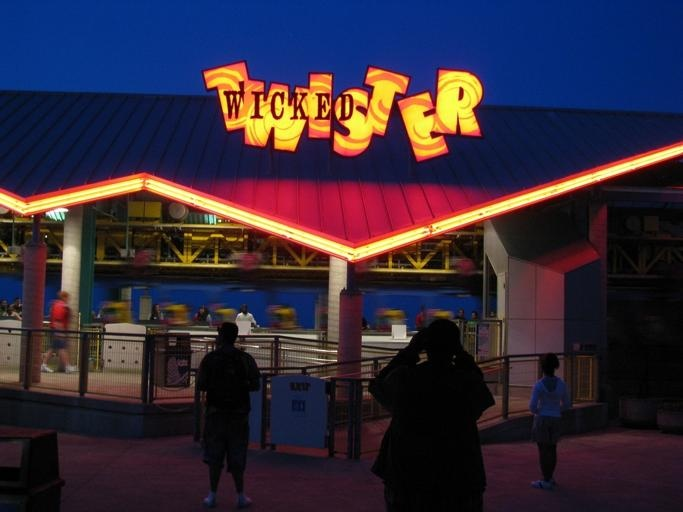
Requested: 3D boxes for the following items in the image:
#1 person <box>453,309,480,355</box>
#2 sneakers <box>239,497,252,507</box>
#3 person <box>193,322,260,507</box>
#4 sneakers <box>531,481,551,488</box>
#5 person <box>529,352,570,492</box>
[{"bbox_3d":[3.346,2.149,23.231,0.393,1.140,0.818,-1,4,22],"label":"person"},{"bbox_3d":[-1.525,3.954,13.421,0.105,0.186,0.271,3,4,20],"label":"sneakers"},{"bbox_3d":[-1.806,2.560,13.452,0.958,2.964,0.482,2,-9,-8],"label":"person"},{"bbox_3d":[3.477,4.020,14.647,0.311,0.131,0.116,6,0,22],"label":"sneakers"},{"bbox_3d":[3.651,2.906,14.704,0.665,2.363,0.804,-2,-9,15],"label":"person"}]
